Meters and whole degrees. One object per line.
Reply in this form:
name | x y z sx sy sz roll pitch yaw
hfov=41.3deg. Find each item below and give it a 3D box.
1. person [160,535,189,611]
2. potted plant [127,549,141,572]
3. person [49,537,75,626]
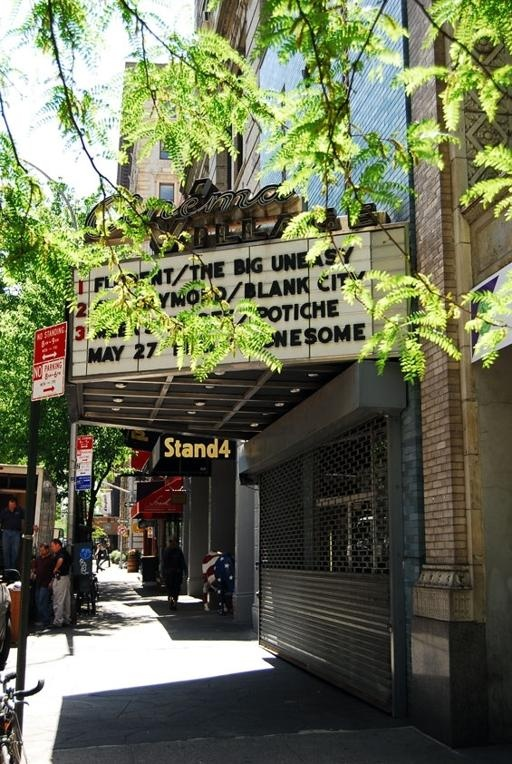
person | -2.367 5.497 19.710 0.602 1.981 1.584 1 -12 -6
potted plant | -8.481 12.466 47.218 0.736 1.335 1.251 2 -13 -12
person | -4.363 4.489 15.243 0.478 1.900 1.139 3 -13 -14
